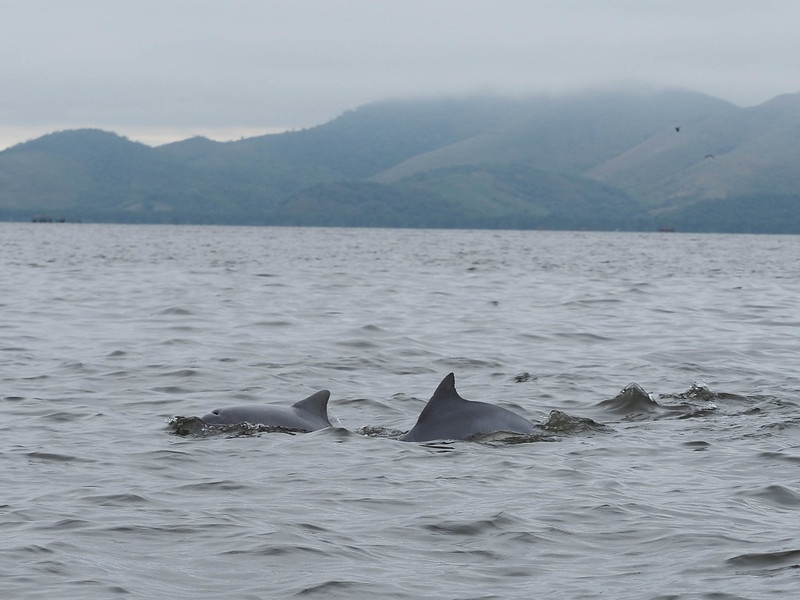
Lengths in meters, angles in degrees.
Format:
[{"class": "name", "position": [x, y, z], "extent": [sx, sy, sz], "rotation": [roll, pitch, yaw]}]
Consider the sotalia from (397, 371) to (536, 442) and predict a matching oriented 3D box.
[{"class": "sotalia", "position": [1.066, 1.733, 20.016], "extent": [2.153, 1.112, 0.854], "rotation": [1, 8, 0]}]
